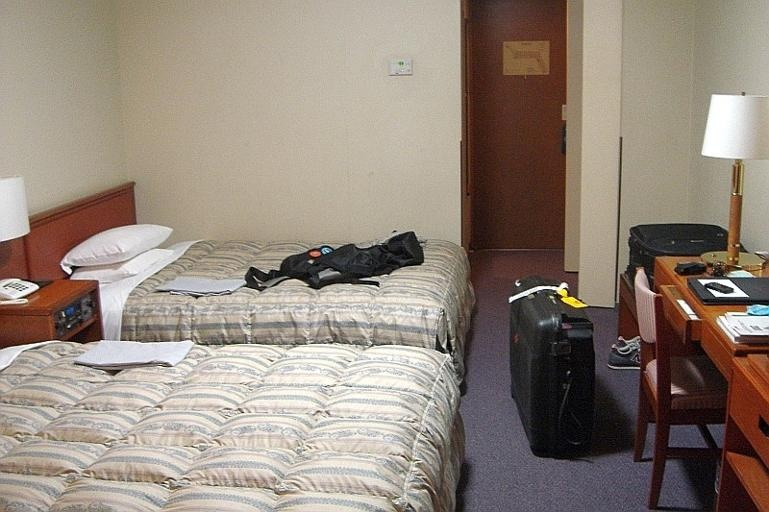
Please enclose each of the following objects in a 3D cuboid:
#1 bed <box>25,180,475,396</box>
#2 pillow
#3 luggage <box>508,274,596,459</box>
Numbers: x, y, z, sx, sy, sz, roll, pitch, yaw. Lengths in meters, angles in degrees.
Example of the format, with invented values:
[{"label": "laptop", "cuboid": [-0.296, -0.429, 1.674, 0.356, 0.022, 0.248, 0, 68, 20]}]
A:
[{"label": "bed", "cuboid": [-0.753, 0.251, 3.933, 2.279, 0.811, 1.689, 0, 19, 3]}, {"label": "pillow", "cuboid": [-2.039, 0.099, 4.246, 0.442, 0.189, 0.657, -10, 12, 16]}, {"label": "luggage", "cuboid": [1.046, 0.640, 3.604, 0.417, 0.841, 1.128, -3, 8, 8]}]
